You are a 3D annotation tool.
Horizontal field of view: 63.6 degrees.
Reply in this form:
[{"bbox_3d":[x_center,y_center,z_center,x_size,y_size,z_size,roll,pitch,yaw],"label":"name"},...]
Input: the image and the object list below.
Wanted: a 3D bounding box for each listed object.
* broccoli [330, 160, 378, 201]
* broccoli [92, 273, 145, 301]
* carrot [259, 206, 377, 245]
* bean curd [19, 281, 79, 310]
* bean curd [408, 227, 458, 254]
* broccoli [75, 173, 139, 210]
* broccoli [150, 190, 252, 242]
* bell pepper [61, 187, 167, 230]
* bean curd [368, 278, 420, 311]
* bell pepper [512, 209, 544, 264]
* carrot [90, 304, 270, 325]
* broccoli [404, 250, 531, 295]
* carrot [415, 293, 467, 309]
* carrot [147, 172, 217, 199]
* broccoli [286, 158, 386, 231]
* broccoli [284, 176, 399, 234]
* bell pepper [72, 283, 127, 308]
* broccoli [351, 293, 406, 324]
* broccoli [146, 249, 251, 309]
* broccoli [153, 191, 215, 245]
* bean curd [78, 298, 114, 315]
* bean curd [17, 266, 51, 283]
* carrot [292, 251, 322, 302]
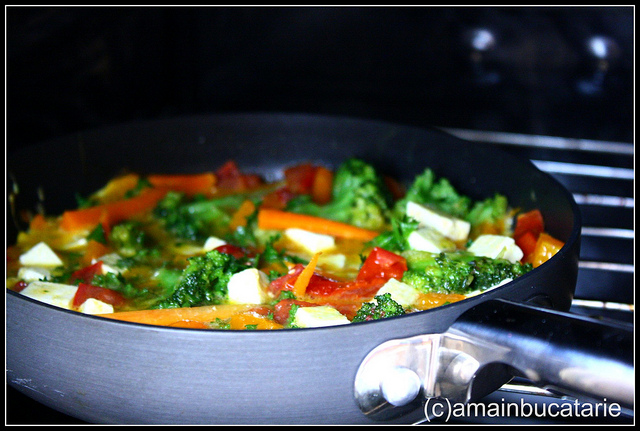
[{"bbox_3d":[0.153,-0.174,2.304,0.098,0.149,0.186,29,59,28],"label":"broccoli"},{"bbox_3d":[-0.650,0.234,1.679,0.094,0.030,0.137,-4,23,-41],"label":"broccoli"},{"bbox_3d":[-0.003,0.046,2.050,0.416,0.079,0.055,9,48,5],"label":"carrot"},{"bbox_3d":[-0.833,0.235,1.594,0.173,0.055,0.091,10,49,8],"label":"bean curd"},{"bbox_3d":[0.387,0.091,1.807,0.116,0.029,0.106,-6,24,-28],"label":"bean curd"},{"bbox_3d":[-0.965,-0.105,2.358,0.195,0.055,0.184,-14,17,0],"label":"broccoli"},{"bbox_3d":[-0.511,-0.024,2.221,0.245,0.067,0.310,30,36,28],"label":"broccoli"},{"bbox_3d":[-0.857,-0.028,2.175,0.435,0.064,0.152,-28,55,-23],"label":"bell pepper"},{"bbox_3d":[0.237,0.237,1.604,0.116,0.073,0.123,-8,10,-29],"label":"bean curd"},{"bbox_3d":[0.736,0.075,1.876,0.108,0.186,0.128,2,11,17],"label":"bell pepper"},{"bbox_3d":[-0.379,0.279,1.442,0.330,0.027,0.042,-4,9,-14],"label":"carrot"},{"bbox_3d":[0.444,0.144,1.616,0.278,0.060,0.176,-3,10,-24],"label":"broccoli"},{"bbox_3d":[0.358,0.252,1.550,0.087,0.019,0.067,-9,8,-31],"label":"carrot"},{"bbox_3d":[-0.624,-0.149,2.417,0.192,0.063,0.182,-4,21,-4],"label":"carrot"},{"bbox_3d":[0.100,-0.082,2.189,0.339,0.122,0.336,34,71,24],"label":"broccoli"},{"bbox_3d":[0.099,-0.012,2.200,0.390,0.182,0.235,-2,31,25],"label":"broccoli"},{"bbox_3d":[-0.688,0.245,1.656,0.144,0.066,0.163,0,11,10],"label":"bell pepper"},{"bbox_3d":[0.152,0.254,1.404,0.095,0.029,0.092,-1,29,16],"label":"broccoli"},{"bbox_3d":[-0.384,0.164,1.670,0.314,0.148,0.324,-6,9,-19],"label":"broccoli"},{"bbox_3d":[-0.579,-0.012,2.197,0.219,0.063,0.222,28,46,33],"label":"broccoli"},{"bbox_3d":[-0.667,0.273,1.530,0.068,0.018,0.068,8,15,-2],"label":"bean curd"},{"bbox_3d":[-0.985,0.201,1.779,0.076,0.020,0.076,5,13,7],"label":"bean curd"},{"bbox_3d":[-0.045,0.191,1.585,0.056,0.186,0.049,31,6,6],"label":"carrot"}]
